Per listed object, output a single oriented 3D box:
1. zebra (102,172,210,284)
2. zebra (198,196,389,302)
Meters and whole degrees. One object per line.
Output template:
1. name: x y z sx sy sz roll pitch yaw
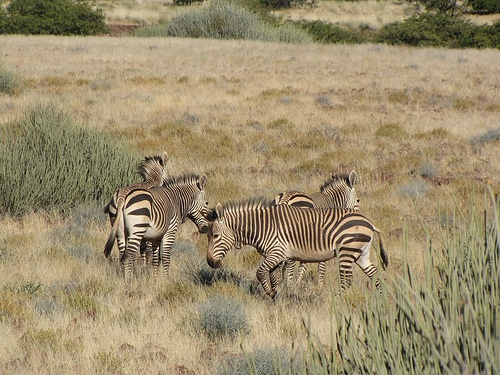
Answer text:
1. zebra: -2.228 0.911 21.625 0.962 3.112 2.795 5 94 42
2. zebra: 1.131 1.422 20.968 4.334 1.193 2.962 -1 102 -2
